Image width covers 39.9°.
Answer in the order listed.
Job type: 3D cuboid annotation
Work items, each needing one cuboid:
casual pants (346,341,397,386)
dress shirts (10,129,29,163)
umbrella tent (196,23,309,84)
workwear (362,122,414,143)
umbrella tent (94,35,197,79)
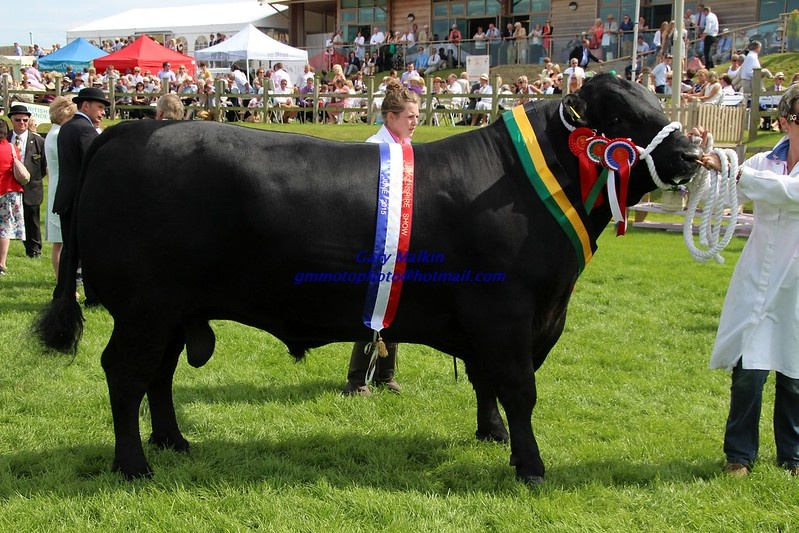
[{"bbox_3d":[-0.208,1.014,11.369,0.303,0.488,0.504,3,-4,-27],"label":"casual pants"},{"bbox_3d":[-5.075,-1.569,14.786,0.308,0.539,0.126,-2,-5,-26],"label":"dress shirts"},{"bbox_3d":[-3.891,-6.075,30.197,2.653,1.064,2.583,4,16,32],"label":"umbrella tent"},{"bbox_3d":[-0.114,-1.276,10.824,0.544,0.228,0.271,-2,2,-15],"label":"workwear"},{"bbox_3d":[-6.788,-5.698,30.035,1.778,0.842,1.757,1,9,10],"label":"umbrella tent"}]
